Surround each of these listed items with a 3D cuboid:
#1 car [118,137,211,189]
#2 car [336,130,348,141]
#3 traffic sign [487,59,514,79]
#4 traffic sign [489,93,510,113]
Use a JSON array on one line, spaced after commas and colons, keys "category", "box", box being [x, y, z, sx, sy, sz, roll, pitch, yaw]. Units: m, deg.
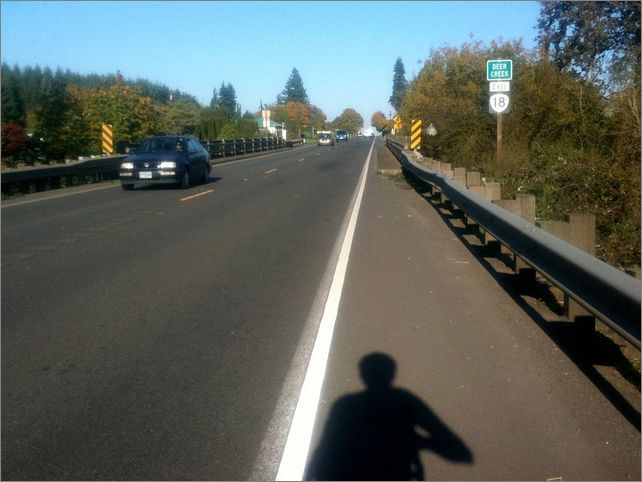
[{"category": "car", "box": [-6.078, -3.107, 20.513, 2.225, 1.997, 3.566, 1, 12, 10]}, {"category": "car", "box": [4.429, -22.906, 113.695, 1.495, 1.794, 3.143, 0, 9, 7]}, {"category": "traffic sign", "box": [5.480, -5.310, 16.174, 0.840, 0.673, 0.623, -5, 11, -22]}, {"category": "traffic sign", "box": [5.380, -4.184, 15.760, 0.481, 0.637, 0.061, 0, -7, 13]}]
